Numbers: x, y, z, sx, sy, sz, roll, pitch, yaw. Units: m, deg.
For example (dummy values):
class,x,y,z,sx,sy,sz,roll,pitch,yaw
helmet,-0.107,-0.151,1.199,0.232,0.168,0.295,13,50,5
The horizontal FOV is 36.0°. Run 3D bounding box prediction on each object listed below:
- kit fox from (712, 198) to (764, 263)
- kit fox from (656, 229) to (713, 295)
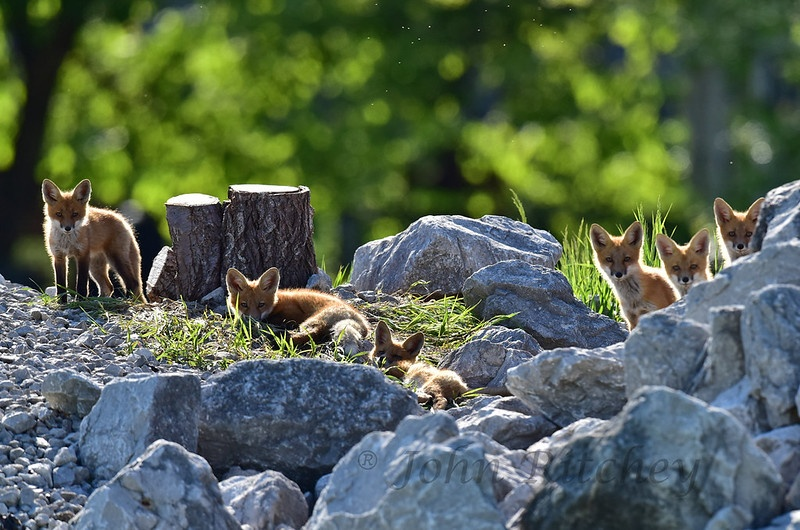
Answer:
class,x,y,z,sx,sy,sz,roll,pitch,yaw
kit fox,4.778,-0.485,17.453,0.325,0.949,0.751,-3,10,-36
kit fox,3.927,-0.070,16.920,0.597,0.887,1.160,-10,-18,6
